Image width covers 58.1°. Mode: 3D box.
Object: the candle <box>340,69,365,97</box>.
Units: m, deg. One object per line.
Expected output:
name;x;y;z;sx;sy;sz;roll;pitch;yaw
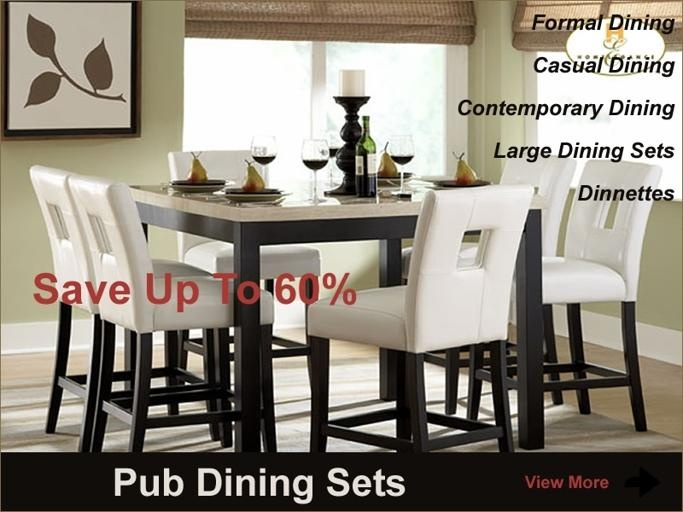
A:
candle;0.051;-0.773;2.747;0.115;0.116;0.105;0;6;3
